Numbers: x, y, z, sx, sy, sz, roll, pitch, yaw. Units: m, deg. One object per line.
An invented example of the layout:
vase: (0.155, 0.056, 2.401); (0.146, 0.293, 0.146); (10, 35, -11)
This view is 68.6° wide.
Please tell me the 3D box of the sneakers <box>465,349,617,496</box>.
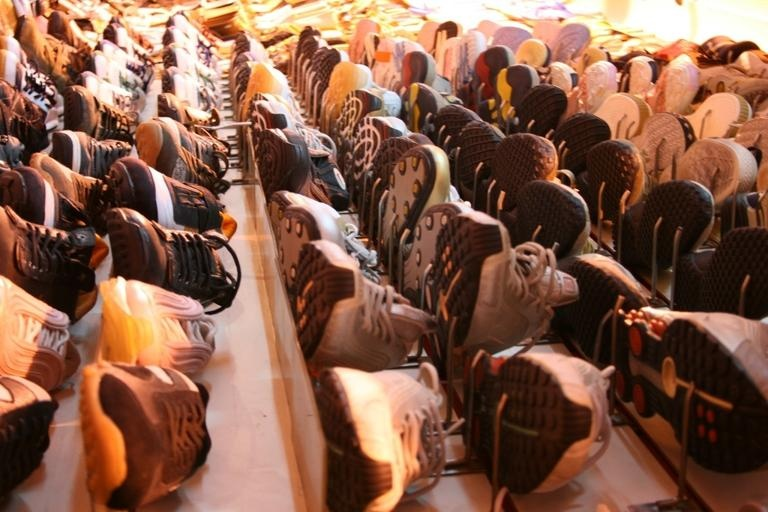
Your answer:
sneakers: (0.195, 0.208, 0.758); (0.105, 0.148, 0.230); (1, 3, -16)

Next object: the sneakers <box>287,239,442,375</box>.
sneakers: (-0.044, 0.091, 0.825); (0.140, 0.111, 0.321); (1, -16, 3)

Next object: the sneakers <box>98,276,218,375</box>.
sneakers: (-0.358, 0.120, 0.905); (0.078, 0.129, 0.190); (-23, -32, 31)

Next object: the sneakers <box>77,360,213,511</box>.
sneakers: (-0.308, 0.220, 0.732); (0.098, 0.171, 0.154); (14, 15, 24)

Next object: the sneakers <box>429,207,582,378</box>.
sneakers: (0.167, 0.084, 0.955); (0.175, 0.134, 0.396); (-6, -21, -11)
